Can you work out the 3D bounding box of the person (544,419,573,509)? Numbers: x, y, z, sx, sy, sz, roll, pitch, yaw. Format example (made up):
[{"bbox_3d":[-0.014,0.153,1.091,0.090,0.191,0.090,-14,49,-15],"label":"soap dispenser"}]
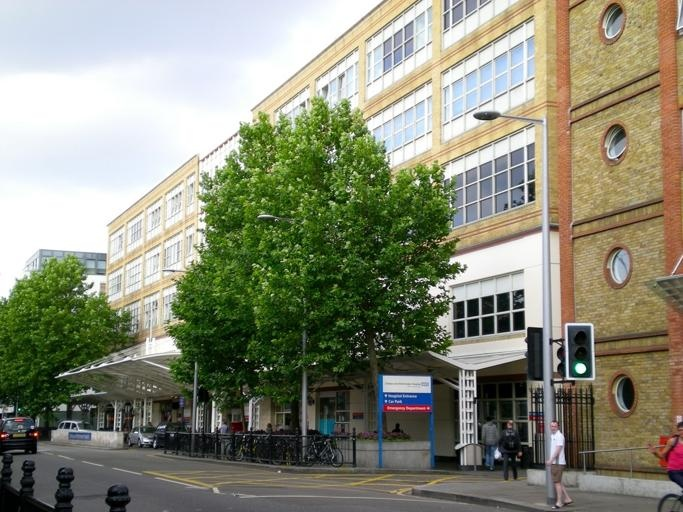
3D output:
[{"bbox_3d":[5.181,4.980,19.274,0.466,2.024,0.806,-5,-17,15],"label":"person"}]

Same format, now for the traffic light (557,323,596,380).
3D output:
[{"bbox_3d":[5.550,2.224,19.049,0.878,1.331,0.619,-5,-17,13],"label":"traffic light"}]

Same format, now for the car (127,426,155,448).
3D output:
[{"bbox_3d":[-14.260,12.948,57.981,1.331,0.936,2.898,8,-20,-27],"label":"car"}]

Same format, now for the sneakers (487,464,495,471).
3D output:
[{"bbox_3d":[5.750,8.098,30.903,0.183,0.228,0.545,1,-5,5],"label":"sneakers"}]

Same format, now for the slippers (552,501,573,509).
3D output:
[{"bbox_3d":[5.175,5.871,18.905,0.314,0.159,0.940,-11,-20,30],"label":"slippers"}]

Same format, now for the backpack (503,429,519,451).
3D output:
[{"bbox_3d":[5.682,6.204,27.048,0.555,0.734,0.394,2,-53,8],"label":"backpack"}]
